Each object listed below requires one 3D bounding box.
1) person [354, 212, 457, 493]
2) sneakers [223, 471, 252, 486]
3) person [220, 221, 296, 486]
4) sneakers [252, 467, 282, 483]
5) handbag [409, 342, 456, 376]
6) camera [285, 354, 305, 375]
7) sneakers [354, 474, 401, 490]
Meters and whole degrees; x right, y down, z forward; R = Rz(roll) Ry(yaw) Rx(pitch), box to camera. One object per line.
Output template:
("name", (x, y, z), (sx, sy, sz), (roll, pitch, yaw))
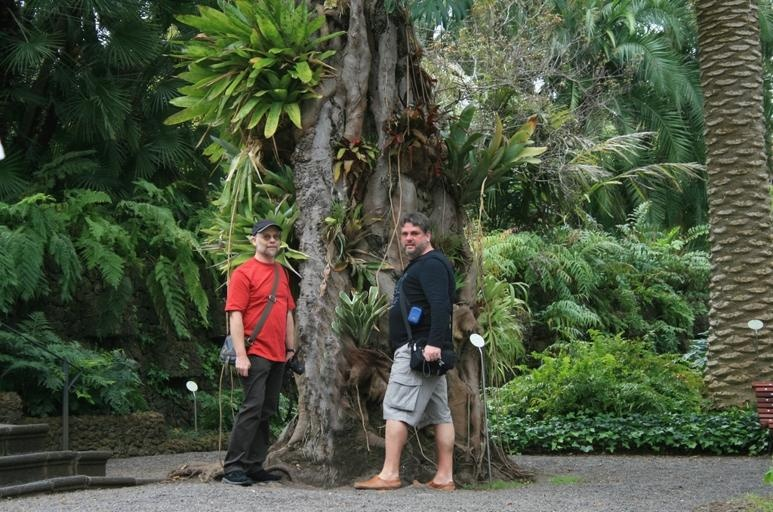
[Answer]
("person", (0.358, 1.155, 9.065), (0.897, 3.312, 0.684), (0, 5, 2))
("sneakers", (-1.794, 2.656, 9.023), (0.318, 0.153, 0.148), (-1, -8, 15))
("person", (-1.568, 1.150, 9.283), (0.592, 3.158, 1.077), (3, 6, 29))
("sneakers", (-1.490, 2.675, 9.201), (0.398, 0.178, 0.137), (1, 1, -5))
("handbag", (0.531, 1.222, 8.946), (0.522, 0.356, 0.113), (0, 5, 1))
("camera", (-1.156, 1.395, 9.619), (0.298, 0.190, 0.129), (5, -1, 44))
("sneakers", (-0.121, 2.701, 8.998), (0.477, 0.166, 0.222), (4, -11, 6))
